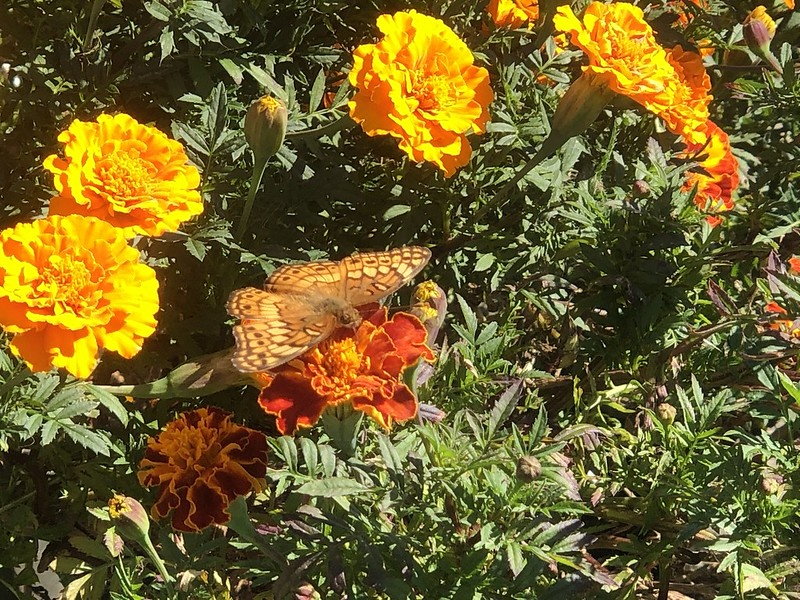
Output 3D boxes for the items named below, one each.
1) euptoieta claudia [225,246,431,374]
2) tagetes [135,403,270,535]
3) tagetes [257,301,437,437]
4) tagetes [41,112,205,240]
[{"bbox_3d":[-0.129,0.018,1.294,0.240,0.082,0.459,32,46,32],"label":"euptoieta claudia"},{"bbox_3d":[-0.418,0.356,1.501,0.258,0.250,0.163,22,11,32],"label":"tagetes"},{"bbox_3d":[-0.099,0.102,1.358,0.266,0.227,0.378,-6,15,-21],"label":"tagetes"},{"bbox_3d":[-0.550,-0.235,1.382,0.305,0.114,0.258,-15,64,-42],"label":"tagetes"}]
